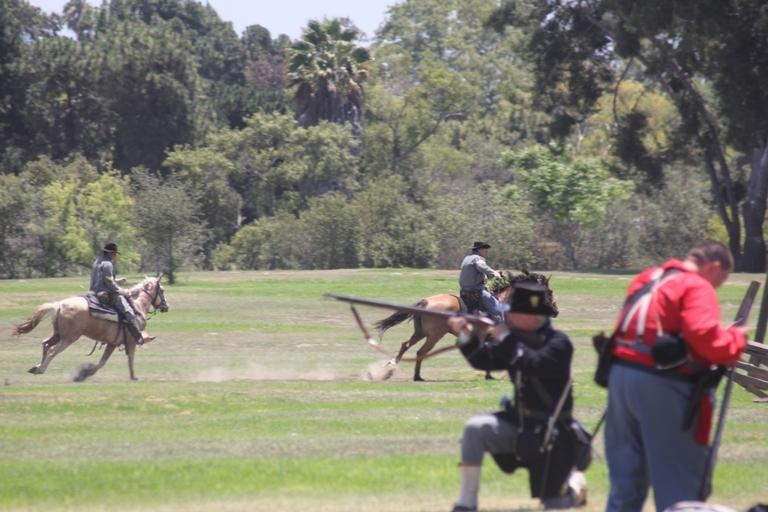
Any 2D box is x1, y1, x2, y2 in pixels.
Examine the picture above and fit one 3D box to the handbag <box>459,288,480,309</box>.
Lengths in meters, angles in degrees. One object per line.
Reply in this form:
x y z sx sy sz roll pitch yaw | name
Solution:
4.694 2.343 96.275 1.136 1.015 0.456 -1 -1 3 | handbag
